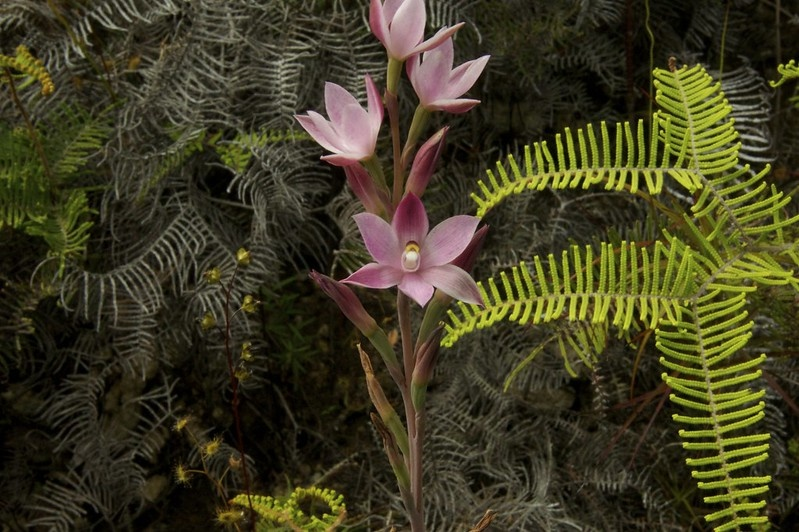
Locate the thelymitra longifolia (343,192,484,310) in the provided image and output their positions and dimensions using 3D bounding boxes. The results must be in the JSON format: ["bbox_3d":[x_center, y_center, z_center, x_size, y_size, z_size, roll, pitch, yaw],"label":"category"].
[{"bbox_3d":[0.036,-0.025,2.163,0.276,0.234,0.158,-6,36,15],"label":"thelymitra longifolia"}]

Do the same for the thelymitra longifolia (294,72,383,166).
[{"bbox_3d":[-0.132,-0.319,2.229,0.193,0.174,0.145,-27,79,-11],"label":"thelymitra longifolia"}]

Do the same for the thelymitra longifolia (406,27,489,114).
[{"bbox_3d":[0.105,-0.433,2.204,0.150,0.127,0.175,25,11,13],"label":"thelymitra longifolia"}]
